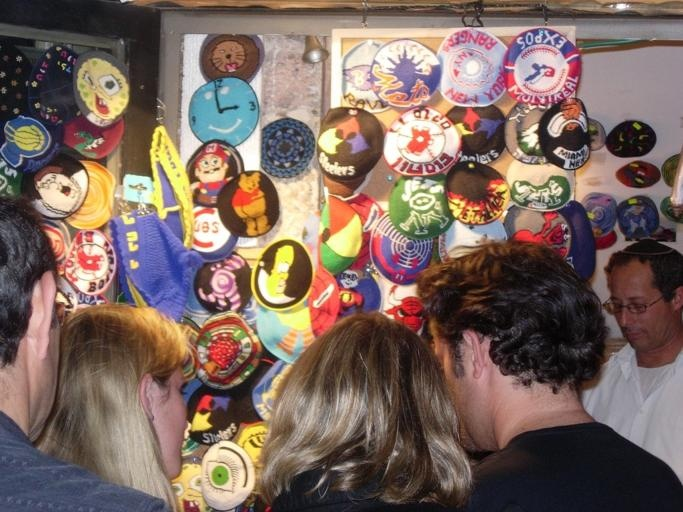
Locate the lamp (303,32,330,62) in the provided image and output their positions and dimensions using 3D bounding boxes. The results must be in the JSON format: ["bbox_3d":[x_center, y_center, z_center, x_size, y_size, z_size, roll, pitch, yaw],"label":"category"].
[{"bbox_3d":[-0.101,-0.830,3.134,0.105,0.123,0.116,2,2,-2],"label":"lamp"}]
